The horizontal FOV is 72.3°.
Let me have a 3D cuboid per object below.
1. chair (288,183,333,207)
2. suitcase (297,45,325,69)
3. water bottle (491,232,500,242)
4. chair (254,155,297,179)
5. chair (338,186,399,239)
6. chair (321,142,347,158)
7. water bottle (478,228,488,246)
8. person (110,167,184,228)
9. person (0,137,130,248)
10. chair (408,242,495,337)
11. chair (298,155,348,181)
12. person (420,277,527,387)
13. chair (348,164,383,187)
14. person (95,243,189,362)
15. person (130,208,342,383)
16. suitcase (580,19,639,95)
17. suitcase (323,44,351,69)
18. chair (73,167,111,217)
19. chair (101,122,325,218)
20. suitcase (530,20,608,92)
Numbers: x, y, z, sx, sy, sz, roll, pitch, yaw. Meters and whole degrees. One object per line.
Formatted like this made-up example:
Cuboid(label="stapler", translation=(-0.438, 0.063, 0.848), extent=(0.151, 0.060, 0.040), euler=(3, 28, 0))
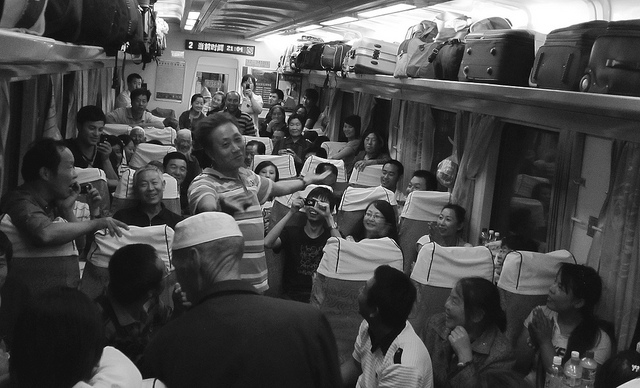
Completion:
Cuboid(label="chair", translation=(-0.113, 0.015, 5.496), extent=(0.294, 0.139, 0.362), euler=(10, 21, 28))
Cuboid(label="suitcase", translation=(-0.190, -3.794, 12.143), extent=(0.259, 0.640, 1.838), euler=(4, 9, -21))
Cuboid(label="water bottle", translation=(2.333, 0.572, 5.838), extent=(0.068, 0.154, 0.068), euler=(3, 30, -2))
Cuboid(label="chair", translation=(-0.814, -0.544, 8.393), extent=(0.581, 0.493, 0.546), euler=(-1, 1, 2))
Cuboid(label="chair", translation=(0.694, 0.281, 6.487), extent=(0.773, 0.813, 0.757), euler=(3, -9, 6))
Cuboid(label="chair", translation=(0.349, -1.102, 10.607), extent=(0.484, 0.527, 0.446), euler=(0, 16, -1))
Cuboid(label="water bottle", translation=(2.273, 0.618, 6.095), extent=(0.086, 0.223, 0.421), euler=(10, 10, 16))
Cuboid(label="person", translation=(-2.076, 0.041, 5.294), extent=(0.828, 0.466, 0.354), euler=(-2, 5, -26))
Cuboid(label="person", translation=(-2.345, -0.034, 3.842), extent=(0.824, 0.877, 0.713), euler=(13, 11, 36))
Cuboid(label="chair", translation=(1.275, 0.967, 4.785), extent=(0.881, 1.086, 0.957), euler=(4, -4, -6))
Cuboid(label="chair", translation=(0.123, -0.471, 8.560), extent=(0.707, 0.700, 0.572), euler=(17, 3, 26))
Cuboid(label="person", translation=(1.324, 1.196, 3.770), extent=(0.624, 0.927, 0.694), euler=(5, 9, -12))
Cuboid(label="chair", translation=(0.866, -0.327, 8.235), extent=(0.479, 0.404, 0.459), euler=(9, -1, -1))
Cuboid(label="person", translation=(-1.302, 0.773, 3.142), extent=(0.473, 1.027, 0.474), euler=(-20, 61, -41))
Cuboid(label="person", translation=(-0.601, 0.666, 2.950), extent=(1.402, 1.111, 0.686), euler=(-10, -11, -16))
Cuboid(label="suitcase", translation=(2.562, -1.186, 3.808), extent=(0.147, 0.637, 0.511), euler=(4, 9, -17))
Cuboid(label="suitcase", translation=(0.366, -3.522, 11.161), extent=(0.721, 0.622, 0.659), euler=(7, 3, 33))
Cuboid(label="chair", translation=(-3.129, -0.136, 6.081), extent=(0.485, 0.621, 0.345), euler=(-3, 30, -15))
Cuboid(label="chair", translation=(-1.580, -0.328, 5.914), extent=(2.084, 1.185, 1.961), euler=(1, -6, -14))
Cuboid(label="suitcase", translation=(2.617, -1.415, 4.585), extent=(0.530, 0.640, 0.706), euler=(4, 18, -23))
